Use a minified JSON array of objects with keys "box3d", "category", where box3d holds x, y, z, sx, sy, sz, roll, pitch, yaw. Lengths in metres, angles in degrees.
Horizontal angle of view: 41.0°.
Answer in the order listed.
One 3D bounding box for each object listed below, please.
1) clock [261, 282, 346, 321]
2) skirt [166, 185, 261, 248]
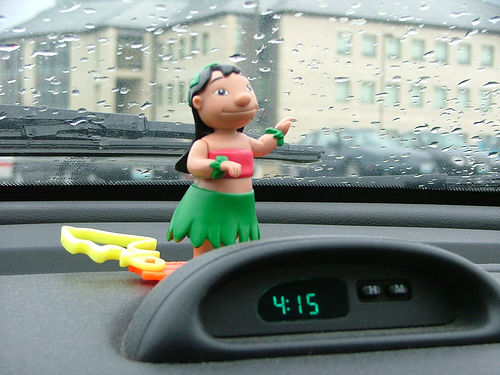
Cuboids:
[{"box3d":[0.155,0.337,1.945,0.315,0.131,0.004,-10,-13,35],"category":"clock"},{"box3d":[-0.128,0.086,2.442,0.396,0.207,0.287,-3,12,-36],"category":"skirt"}]
